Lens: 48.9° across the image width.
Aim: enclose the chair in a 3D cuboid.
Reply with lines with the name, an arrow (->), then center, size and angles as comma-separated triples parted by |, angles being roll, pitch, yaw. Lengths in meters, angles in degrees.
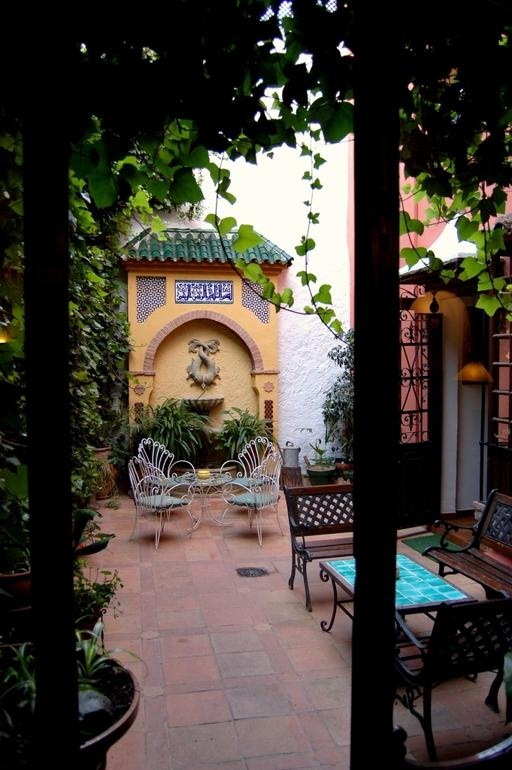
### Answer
chair -> -0.688, 1.396, 7.663 | 1.529, 0.860, 1.430 | 2, -5, -16
